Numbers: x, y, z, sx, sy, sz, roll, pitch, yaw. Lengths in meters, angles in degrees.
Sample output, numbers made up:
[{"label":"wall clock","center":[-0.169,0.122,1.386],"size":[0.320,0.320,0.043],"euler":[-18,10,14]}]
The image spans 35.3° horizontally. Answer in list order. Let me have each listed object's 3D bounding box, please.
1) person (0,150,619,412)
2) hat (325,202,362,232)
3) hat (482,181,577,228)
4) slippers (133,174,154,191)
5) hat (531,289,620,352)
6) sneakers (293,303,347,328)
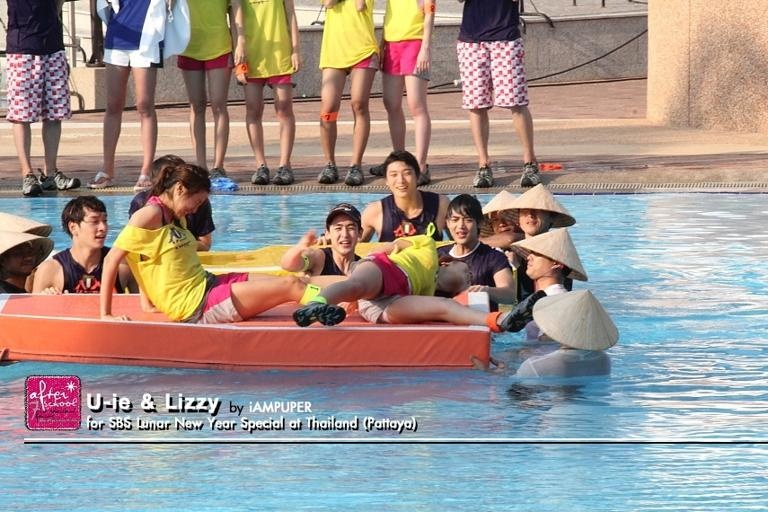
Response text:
[{"label":"person","center":[-0.495,0.057,6.706],"size":[3.335,1.153,0.861],"euler":[-1,4,5]},{"label":"hat","center":[-0.235,-0.231,6.976],"size":[0.196,0.097,0.223],"euler":[0,-15,10]},{"label":"hat","center":[0.925,-0.319,7.754],"size":[0.446,0.132,0.358],"euler":[-1,-15,19]},{"label":"slippers","center":[-2.120,-0.654,10.633],"size":[0.162,0.103,0.340],"euler":[0,-2,-4]},{"label":"hat","center":[1.002,0.340,6.406],"size":[0.439,0.323,0.220],"euler":[-1,5,7]},{"label":"sneakers","center":[-0.336,0.319,6.304],"size":[0.320,0.110,0.105],"euler":[1,11,-1]}]
